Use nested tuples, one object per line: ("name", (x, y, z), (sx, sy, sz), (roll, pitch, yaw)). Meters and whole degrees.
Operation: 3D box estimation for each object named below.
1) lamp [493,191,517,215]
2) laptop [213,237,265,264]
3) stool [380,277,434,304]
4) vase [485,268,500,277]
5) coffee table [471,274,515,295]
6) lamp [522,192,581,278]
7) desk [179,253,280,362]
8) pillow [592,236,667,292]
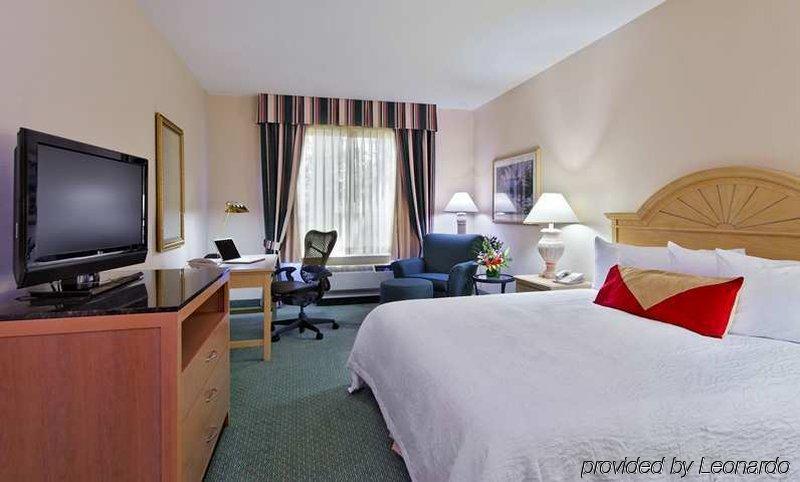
("lamp", (1.365, -0.480, 6.261), (0.253, 0.199, 0.251), (-3, 6, -19))
("laptop", (-1.673, 0.132, 4.917), (0.319, 0.192, 0.333), (1, 1, -5))
("stool", (0.109, 0.540, 5.660), (0.368, 0.228, 0.375), (0, -1, 33))
("vase", (1.007, 0.345, 5.284), (0.088, 0.118, 0.122), (-2, -3, 41))
("coffee table", (1.028, 0.441, 5.350), (0.336, 0.252, 0.339), (3, 5, 42))
("lamp", (1.555, -0.072, 5.374), (0.798, 1.149, 0.801), (3, 4, 21))
("desk", (-1.686, 0.475, 4.866), (0.838, 0.858, 1.756), (0, 0, -14))
("pillow", (1.910, 0.205, 3.988), (0.128, 0.316, 0.468), (7, 1, -18))
